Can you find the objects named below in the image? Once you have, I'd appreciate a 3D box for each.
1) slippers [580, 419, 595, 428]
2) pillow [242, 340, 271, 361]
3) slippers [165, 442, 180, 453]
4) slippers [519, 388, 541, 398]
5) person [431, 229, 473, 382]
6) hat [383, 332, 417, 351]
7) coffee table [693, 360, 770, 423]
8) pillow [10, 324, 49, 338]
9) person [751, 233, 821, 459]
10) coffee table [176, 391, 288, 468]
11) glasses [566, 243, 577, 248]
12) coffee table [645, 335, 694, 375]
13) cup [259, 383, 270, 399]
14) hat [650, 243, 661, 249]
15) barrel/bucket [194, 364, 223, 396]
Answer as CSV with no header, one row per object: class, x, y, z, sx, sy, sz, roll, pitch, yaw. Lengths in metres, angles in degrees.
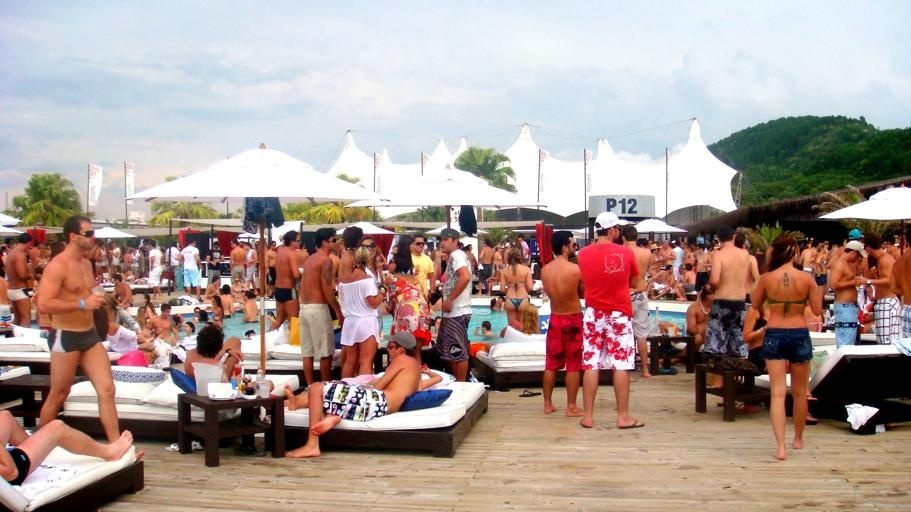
slippers,2.090,2.668,12.754,0.219,0.145,0.178,-1,-3,21
pillow,-3.568,1.713,14.390,0.455,0.103,0.421,0,20,-2
slippers,-4.241,2.907,12.059,0.129,0.063,0.169,2,-2,32
slippers,1.345,2.443,14.249,0.398,0.093,0.468,0,-3,2
person,-0.023,0.848,14.116,0.597,2.741,0.710,0,-2,-1
hat,-0.825,1.311,12.415,0.376,0.175,0.262,8,2,11
coffee table,4.621,2.123,13.269,1.068,0.973,1.030,-1,2,-29
pillow,-7.937,1.433,15.102,0.904,0.179,0.268,3,-9,7
person,4.957,1.328,11.952,0.919,3.353,0.348,-1,-2,3
coffee table,-3.298,2.494,11.958,1.263,0.896,1.181,3,-5,-41
glasses,1.933,-0.169,13.237,0.106,0.104,0.031,-2,19,-14
coffee table,4.139,1.931,15.521,0.781,0.570,0.777,-1,-3,-11
cup,-2.808,1.987,11.872,0.173,0.217,0.097,1,-3,-35
hat,7.193,-0.360,28.575,0.327,0.090,0.318,5,-6,-42
barrel/bucket,-3.659,1.812,11.806,0.490,0.450,0.411,-3,-6,26
